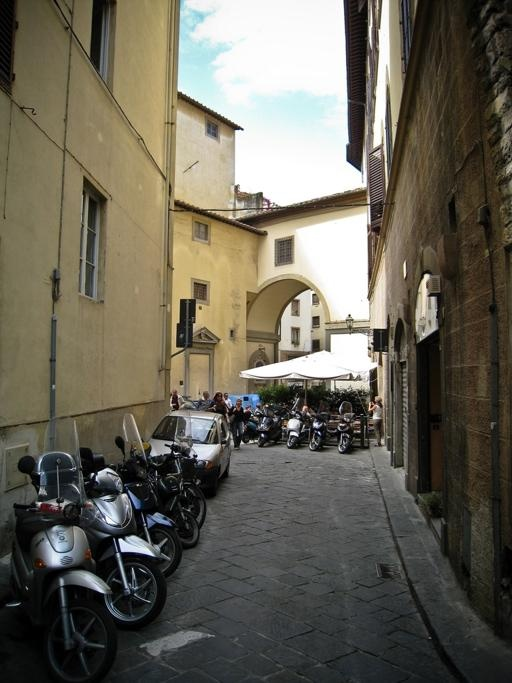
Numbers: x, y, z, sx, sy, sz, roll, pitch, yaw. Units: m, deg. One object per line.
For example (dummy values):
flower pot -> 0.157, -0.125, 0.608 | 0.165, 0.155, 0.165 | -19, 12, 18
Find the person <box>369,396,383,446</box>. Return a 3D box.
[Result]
person -> 4.093, 2.610, 18.181 | 0.421, 1.496, 3.170 | -1, -6, 12

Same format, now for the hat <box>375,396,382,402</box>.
hat -> 4.117, 1.925, 17.847 | 0.131, 0.297, 0.214 | 2, -6, 22

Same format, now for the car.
car -> -1.012, 1.727, 9.097 | 0.834, 1.036, 1.805 | -2, -15, 6
